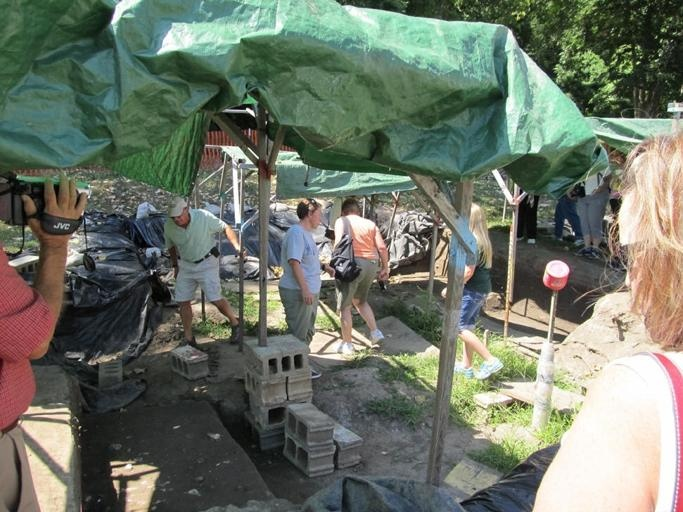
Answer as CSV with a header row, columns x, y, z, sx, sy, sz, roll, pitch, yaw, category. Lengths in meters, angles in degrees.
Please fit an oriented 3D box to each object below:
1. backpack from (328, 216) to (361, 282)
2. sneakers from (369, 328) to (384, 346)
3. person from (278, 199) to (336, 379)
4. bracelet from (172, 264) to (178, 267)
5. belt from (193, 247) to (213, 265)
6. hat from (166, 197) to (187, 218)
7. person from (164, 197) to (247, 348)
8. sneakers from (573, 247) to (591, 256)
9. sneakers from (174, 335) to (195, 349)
x,y,z,sx,sy,sz,roll,pitch,yaw,category
0.064,-0.102,7.629,0.295,0.759,0.429,-9,15,-36,backpack
0.498,1.091,8.195,0.124,0.175,0.257,-18,-26,-30,sneakers
-0.415,0.389,6.612,0.514,1.994,0.662,2,8,-10,person
-2.195,0.131,8.016,0.072,0.051,0.078,-2,6,-9,bracelet
-1.724,-0.008,7.698,0.207,0.057,0.159,-36,7,-8,belt
-1.980,-0.610,7.310,0.173,0.139,0.255,-5,46,6,hat
-1.787,0.194,7.780,0.903,1.881,0.658,1,8,-16,person
4.870,-0.099,12.265,0.115,0.126,0.314,-5,8,-30,sneakers
-1.933,1.095,7.632,0.321,0.138,0.119,0,0,-21,sneakers
